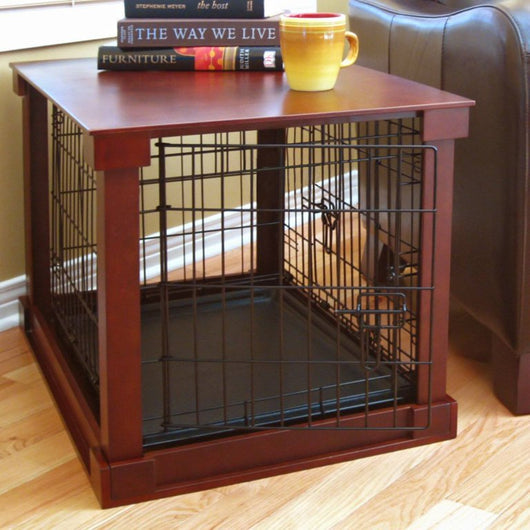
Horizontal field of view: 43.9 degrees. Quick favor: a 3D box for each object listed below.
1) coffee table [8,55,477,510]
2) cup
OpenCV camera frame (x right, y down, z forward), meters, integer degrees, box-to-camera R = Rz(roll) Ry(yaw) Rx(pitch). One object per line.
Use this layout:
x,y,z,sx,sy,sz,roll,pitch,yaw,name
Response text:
-0.093,-0.028,1.304,0.649,0.653,0.822,-5,17,-20,coffee table
0.084,-0.335,1.033,0.132,0.119,0.108,-13,29,-27,cup
